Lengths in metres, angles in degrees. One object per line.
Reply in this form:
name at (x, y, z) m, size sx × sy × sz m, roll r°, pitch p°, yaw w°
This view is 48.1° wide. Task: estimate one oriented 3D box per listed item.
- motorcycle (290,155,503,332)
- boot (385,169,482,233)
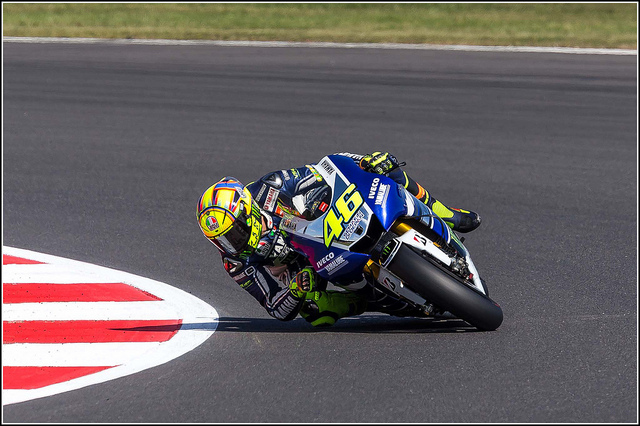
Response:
motorcycle at (0.825, 0.419, 8.013) m, size 1.218 × 0.807 × 2.293 m, roll 11°, pitch 21°, yaw -49°
boot at (1.436, -0.130, 8.958) m, size 1.196 × 0.398 × 0.313 m, roll 31°, pitch 28°, yaw -29°
